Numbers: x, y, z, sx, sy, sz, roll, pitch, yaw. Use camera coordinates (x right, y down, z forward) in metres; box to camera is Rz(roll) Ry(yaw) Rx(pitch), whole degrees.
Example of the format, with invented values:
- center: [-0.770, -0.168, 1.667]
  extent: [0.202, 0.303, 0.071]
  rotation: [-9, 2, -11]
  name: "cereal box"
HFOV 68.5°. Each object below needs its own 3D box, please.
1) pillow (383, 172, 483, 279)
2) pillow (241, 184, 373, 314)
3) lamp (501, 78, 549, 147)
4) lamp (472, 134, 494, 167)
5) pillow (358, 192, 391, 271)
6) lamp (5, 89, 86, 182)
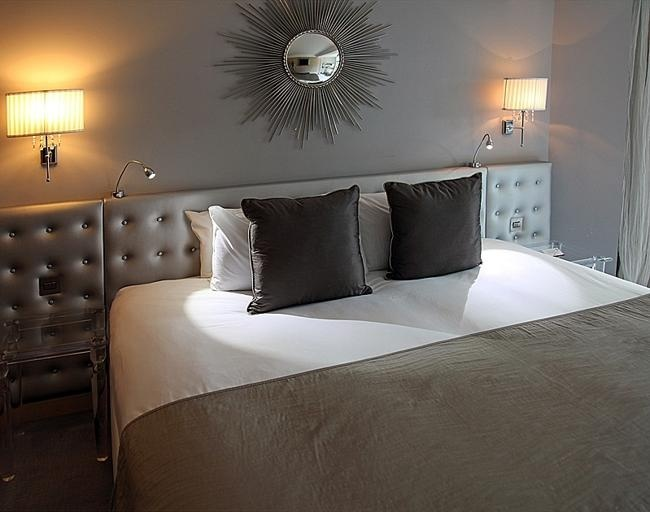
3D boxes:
- center: [0.581, -0.140, 2.586]
  extent: [0.506, 0.531, 0.196]
  rotation: [-6, 1, -11]
  name: "pillow"
- center: [-0.084, -0.032, 2.354]
  extent: [0.589, 0.555, 0.218]
  rotation: [-8, 4, -11]
  name: "pillow"
- center: [1.408, -1.036, 3.428]
  extent: [0.276, 0.472, 0.329]
  rotation: [-2, 6, 16]
  name: "lamp"
- center: [1.096, -0.747, 3.388]
  extent: [0.124, 0.248, 0.301]
  rotation: [0, 7, 32]
  name: "lamp"
- center: [0.255, -0.133, 2.738]
  extent: [0.311, 0.345, 0.099]
  rotation: [3, -14, -19]
  name: "pillow"
- center: [-1.394, -0.609, 2.359]
  extent: [0.375, 0.501, 0.152]
  rotation: [-7, 19, -26]
  name: "lamp"
